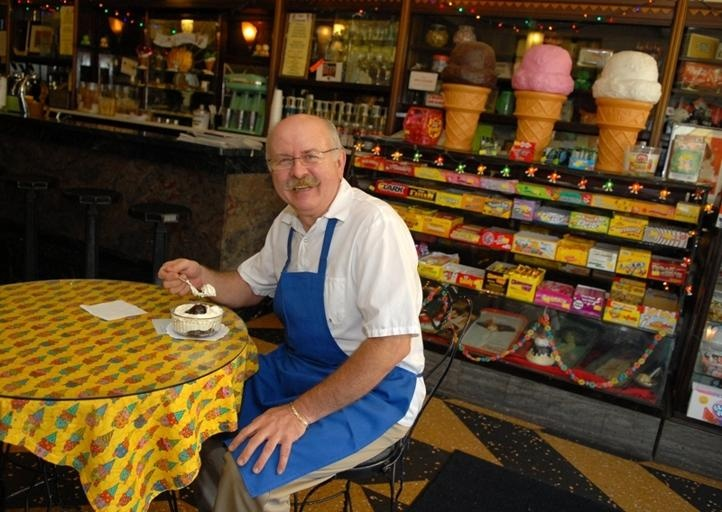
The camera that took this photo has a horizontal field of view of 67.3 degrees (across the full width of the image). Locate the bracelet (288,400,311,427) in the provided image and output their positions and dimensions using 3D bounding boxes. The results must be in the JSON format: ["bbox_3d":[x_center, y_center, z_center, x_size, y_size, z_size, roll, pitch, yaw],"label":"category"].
[{"bbox_3d":[-0.232,0.595,2.050,0.024,0.073,0.080,-38,43,-23],"label":"bracelet"}]

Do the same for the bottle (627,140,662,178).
[{"bbox_3d":[1.727,-0.601,3.356,0.218,0.185,0.197,14,3,30],"label":"bottle"}]

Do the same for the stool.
[{"bbox_3d":[-2.110,-0.235,4.426,1.183,0.627,0.345,8,30,-15],"label":"stool"}]

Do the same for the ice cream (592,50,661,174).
[{"bbox_3d":[1.611,-0.894,3.364,0.378,0.743,0.183,12,15,16],"label":"ice cream"}]

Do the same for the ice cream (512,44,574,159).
[{"bbox_3d":[1.141,-0.991,3.499,0.377,0.718,0.210,10,15,10],"label":"ice cream"}]

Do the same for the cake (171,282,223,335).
[{"bbox_3d":[-0.673,0.226,2.287,0.234,0.194,0.215,5,7,-18],"label":"cake"}]
